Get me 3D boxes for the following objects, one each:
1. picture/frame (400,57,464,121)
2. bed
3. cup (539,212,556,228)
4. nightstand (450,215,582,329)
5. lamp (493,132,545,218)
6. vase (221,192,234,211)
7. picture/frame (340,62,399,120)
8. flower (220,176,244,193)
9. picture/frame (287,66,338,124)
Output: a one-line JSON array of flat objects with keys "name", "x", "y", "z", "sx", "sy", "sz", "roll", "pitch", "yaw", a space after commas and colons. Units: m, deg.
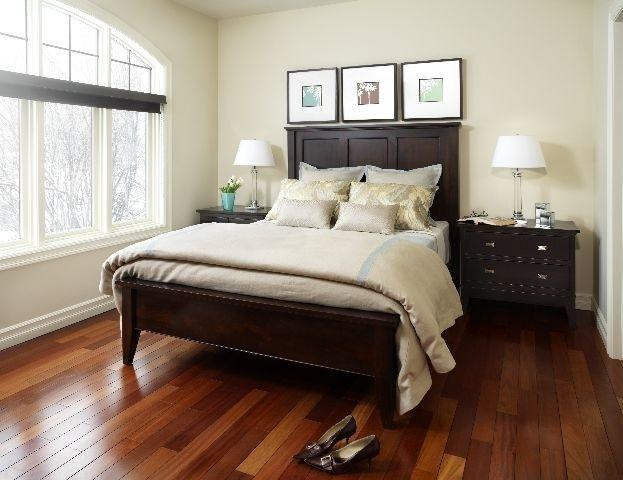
[{"name": "picture/frame", "x": 1.248, "y": -1.531, "z": 4.488, "sx": 0.655, "sy": 0.637, "sz": 0.070, "roll": 1, "pitch": 2, "yaw": 22}, {"name": "bed", "x": 0.117, "y": 0.189, "z": 3.781, "sx": 2.467, "sy": 1.954, "sz": 2.496, "roll": 2, "pitch": 7, "yaw": 23}, {"name": "cup", "x": 2.083, "y": -0.185, "z": 3.907, "sx": 0.108, "sy": 0.122, "sz": 0.085, "roll": 4, "pitch": 14, "yaw": 16}, {"name": "nightstand", "x": 1.932, "y": 0.205, "z": 4.176, "sx": 0.953, "sy": 0.803, "sz": 0.577, "roll": 3, "pitch": 17, "yaw": 30}, {"name": "lamp", "x": 1.939, "y": -0.580, "z": 4.147, "sx": 0.432, "sy": 0.789, "sz": 0.535, "roll": 7, "pitch": 15, "yaw": 28}, {"name": "vase", "x": -0.972, "y": -0.433, "z": 5.066, "sx": 0.180, "sy": 0.206, "sz": 0.186, "roll": 5, "pitch": 7, "yaw": 28}, {"name": "picture/frame", "x": 0.644, "y": -1.581, "z": 4.718, "sx": 0.636, "sy": 0.570, "sz": 0.062, "roll": 2, "pitch": 4, "yaw": 24}, {"name": "flower", "x": -0.932, "y": -0.633, "z": 5.214, "sx": 0.244, "sy": 0.174, "sz": 0.249, "roll": 2, "pitch": 3, "yaw": 37}, {"name": "picture/frame", "x": 0.036, "y": -1.626, "z": 4.969, "sx": 0.648, "sy": 0.620, "sz": 0.066, "roll": 1, "pitch": 2, "yaw": 21}]
